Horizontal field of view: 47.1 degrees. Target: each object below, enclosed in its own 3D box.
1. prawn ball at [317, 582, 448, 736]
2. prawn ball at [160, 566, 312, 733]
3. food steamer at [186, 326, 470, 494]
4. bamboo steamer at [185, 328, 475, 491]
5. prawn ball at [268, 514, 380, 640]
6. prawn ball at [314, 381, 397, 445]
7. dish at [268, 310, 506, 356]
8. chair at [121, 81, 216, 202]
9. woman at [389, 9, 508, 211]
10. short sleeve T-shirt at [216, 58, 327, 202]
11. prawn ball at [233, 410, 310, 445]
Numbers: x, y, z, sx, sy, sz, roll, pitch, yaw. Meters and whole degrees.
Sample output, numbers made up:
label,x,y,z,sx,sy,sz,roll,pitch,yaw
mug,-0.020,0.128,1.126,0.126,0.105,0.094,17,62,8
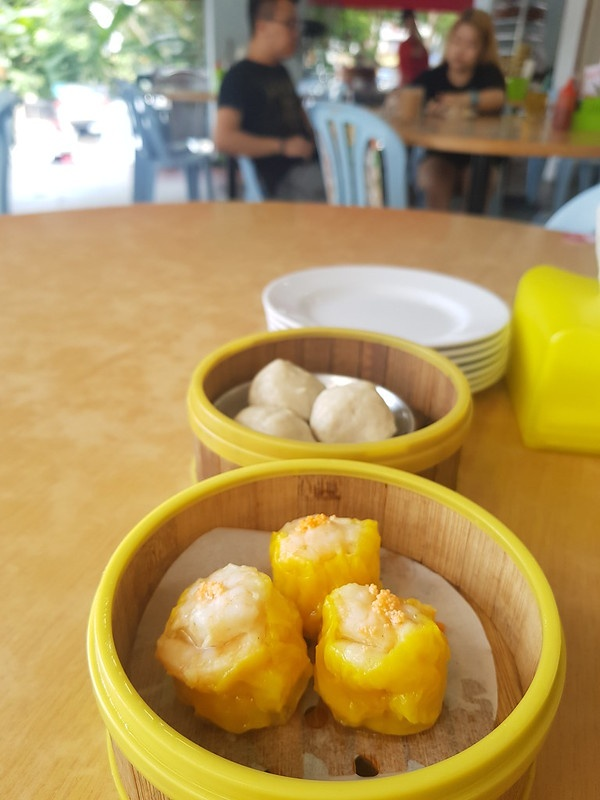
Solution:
label,x,y,z,sx,sy,sz,roll,pitch,yaw
prawn ball,0.038,0.116,0.314,0.061,0.044,0.056,1,27,-1
prawn ball,-0.031,0.124,0.350,0.068,0.042,0.066,4,22,-2
food steamer,0.005,0.011,0.464,0.194,0.074,0.181,-4,25,4
bamboo steamer,0.001,-0.009,0.482,0.119,0.049,0.120,9,32,36
prawn ball,0.011,0.088,0.368,0.054,0.049,0.053,1,22,0
prawn ball,0.034,0.010,0.455,0.044,0.023,0.043,-2,17,1
dish,0.098,-0.070,0.637,0.110,0.017,0.100,11,27,21
chair,-0.752,-1.443,3.931,0.484,0.639,0.363,-10,31,-21
woman,0.519,-0.903,2.325,0.295,0.756,0.225,9,46,11
short sleeve T-shirt,-0.092,-0.909,2.147,0.253,0.348,0.124,-3,65,2
prawn ball,-0.015,0.015,0.441,0.030,0.010,0.028,18,8,-3
